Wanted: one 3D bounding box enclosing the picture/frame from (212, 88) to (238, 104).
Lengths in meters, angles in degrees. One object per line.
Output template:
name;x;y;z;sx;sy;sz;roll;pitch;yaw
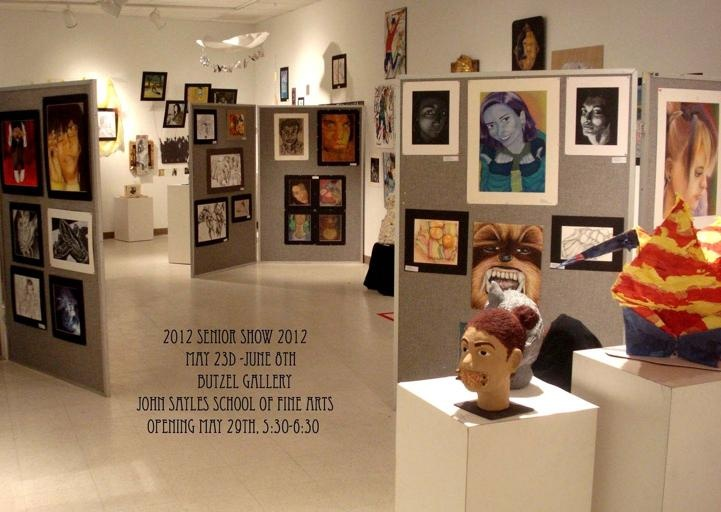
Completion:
picture/frame;-3.475;-4.106;14.721;0.591;0.319;0.141;-4;11;-22

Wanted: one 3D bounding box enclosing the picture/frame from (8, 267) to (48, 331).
picture/frame;-3.357;0.416;5.846;0.020;0.605;0.594;-11;17;-44

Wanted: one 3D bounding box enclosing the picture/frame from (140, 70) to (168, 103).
picture/frame;-5.015;-4.113;13.901;0.779;0.906;0.049;-5;15;-39

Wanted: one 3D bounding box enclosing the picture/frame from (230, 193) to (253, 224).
picture/frame;-2.191;-0.881;10.482;0.023;0.404;0.559;3;6;26

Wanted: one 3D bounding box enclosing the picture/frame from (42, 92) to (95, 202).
picture/frame;-2.688;-0.999;5.295;0.741;0.939;0.165;10;14;40

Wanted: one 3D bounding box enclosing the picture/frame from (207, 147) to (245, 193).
picture/frame;-2.399;-1.528;10.113;0.025;0.793;0.786;5;10;38

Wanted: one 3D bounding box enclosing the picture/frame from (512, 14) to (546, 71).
picture/frame;2.163;-2.741;7.458;0.144;0.658;0.637;-4;12;-22

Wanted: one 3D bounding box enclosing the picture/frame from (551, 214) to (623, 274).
picture/frame;1.576;-0.098;3.985;0.427;0.368;0.022;1;6;12

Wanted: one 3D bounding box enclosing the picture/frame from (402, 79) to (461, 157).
picture/frame;0.571;-1.104;4.534;0.571;0.666;0.044;7;12;34

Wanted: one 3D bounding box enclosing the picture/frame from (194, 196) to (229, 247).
picture/frame;-2.610;-0.628;9.974;0.081;0.846;0.849;5;7;35

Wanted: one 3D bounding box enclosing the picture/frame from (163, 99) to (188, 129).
picture/frame;-4.624;-3.553;14.288;0.066;0.828;0.712;16;17;38

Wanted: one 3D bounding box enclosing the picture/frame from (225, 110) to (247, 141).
picture/frame;-2.232;-2.324;10.246;0.039;0.626;0.571;1;6;35

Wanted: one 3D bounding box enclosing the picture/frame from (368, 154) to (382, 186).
picture/frame;0.268;-1.638;10.829;0.036;0.738;0.538;-6;11;-29

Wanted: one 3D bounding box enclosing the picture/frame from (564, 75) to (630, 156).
picture/frame;1.701;-1.031;4.127;0.545;0.697;0.051;1;8;9

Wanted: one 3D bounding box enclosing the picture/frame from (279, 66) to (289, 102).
picture/frame;-1.813;-4.101;13.707;0.085;1.082;0.783;-4;10;-26

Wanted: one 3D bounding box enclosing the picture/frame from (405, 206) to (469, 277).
picture/frame;0.632;-0.129;4.647;0.535;0.523;0.022;5;6;35

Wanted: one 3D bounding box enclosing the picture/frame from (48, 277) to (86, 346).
picture/frame;-2.783;0.504;5.492;0.628;0.745;0.033;5;7;38

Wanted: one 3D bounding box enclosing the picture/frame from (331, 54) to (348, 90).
picture/frame;-0.420;-3.738;11.637;0.063;0.809;0.714;-6;12;-30
